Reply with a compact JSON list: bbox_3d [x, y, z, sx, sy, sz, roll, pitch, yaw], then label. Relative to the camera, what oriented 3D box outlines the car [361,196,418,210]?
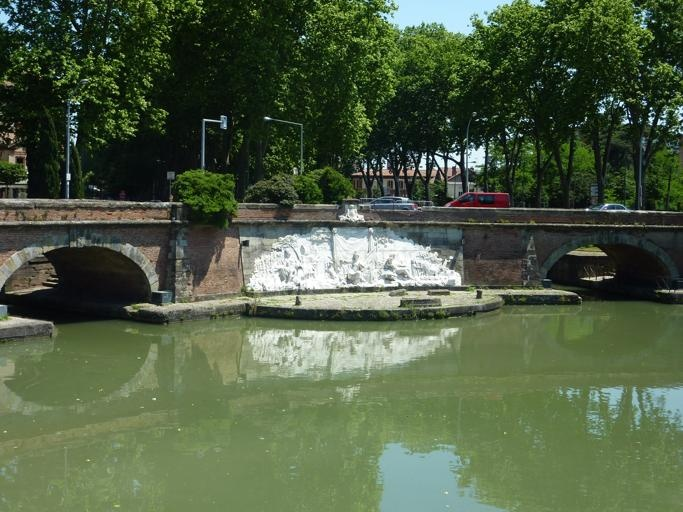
[{"bbox_3d":[2.983,-3.646,50.487,3.133,1.013,1.394,3,1,0],"label":"car"}]

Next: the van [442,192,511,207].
[{"bbox_3d":[8.748,-3.565,51.285,3.356,1.291,1.724,1,1,7],"label":"van"}]
